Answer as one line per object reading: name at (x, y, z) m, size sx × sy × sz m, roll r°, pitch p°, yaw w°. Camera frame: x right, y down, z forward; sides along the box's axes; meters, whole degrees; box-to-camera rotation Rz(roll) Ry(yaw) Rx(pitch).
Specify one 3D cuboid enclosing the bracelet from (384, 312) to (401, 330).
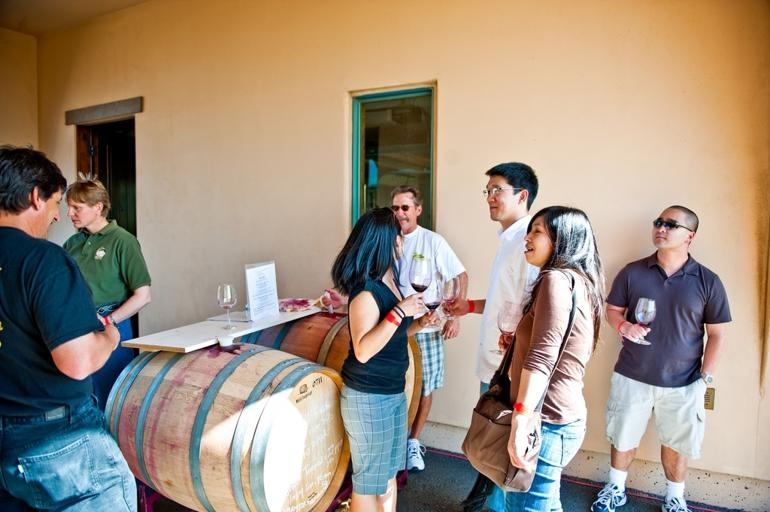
bracelet at (0.042, 0.324, 2.807) m, size 0.079 × 0.077 × 0.077 m, roll 1°, pitch 28°, yaw 6°

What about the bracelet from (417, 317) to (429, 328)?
bracelet at (0.218, 0.370, 3.066) m, size 0.056 × 0.062 × 0.063 m, roll 4°, pitch 10°, yaw 30°

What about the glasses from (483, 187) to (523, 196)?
glasses at (0.732, -0.401, 3.380) m, size 0.104 × 0.031 × 0.099 m, roll 3°, pitch -2°, yaw -27°

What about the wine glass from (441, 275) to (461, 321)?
wine glass at (0.385, 0.238, 3.108) m, size 0.092 × 0.248 × 0.150 m, roll 0°, pitch 8°, yaw 6°

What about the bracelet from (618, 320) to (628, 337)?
bracelet at (1.533, 0.456, 3.489) m, size 0.073 × 0.075 × 0.075 m, roll 16°, pitch 32°, yaw 22°

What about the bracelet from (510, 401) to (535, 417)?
bracelet at (0.646, 0.716, 2.536) m, size 0.072 × 0.073 × 0.074 m, roll 14°, pitch 48°, yaw 23°

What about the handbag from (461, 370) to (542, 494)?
handbag at (0.561, 0.873, 2.634) m, size 0.255 × 0.422 × 0.315 m, roll -6°, pitch 9°, yaw -28°

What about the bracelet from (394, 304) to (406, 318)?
bracelet at (0.077, 0.283, 2.836) m, size 0.044 × 0.056 × 0.057 m, roll -24°, pitch 4°, yaw -9°

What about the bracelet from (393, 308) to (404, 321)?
bracelet at (0.070, 0.297, 2.816) m, size 0.060 × 0.061 × 0.061 m, roll 4°, pitch 8°, yaw -6°
